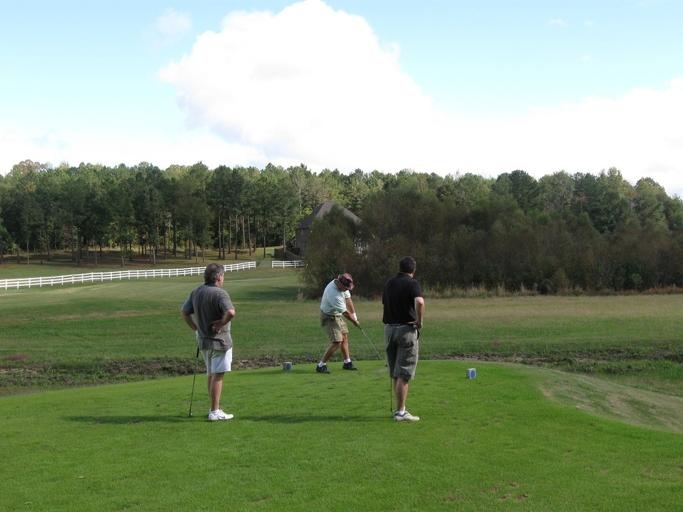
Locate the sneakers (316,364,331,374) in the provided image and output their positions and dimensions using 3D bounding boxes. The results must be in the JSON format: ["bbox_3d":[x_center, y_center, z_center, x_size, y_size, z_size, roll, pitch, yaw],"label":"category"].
[{"bbox_3d":[-0.507,3.016,19.720,0.426,0.221,0.152,0,9,-16],"label":"sneakers"}]

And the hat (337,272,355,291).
[{"bbox_3d":[0.127,0.784,19.589,0.207,0.539,0.486,-43,6,28],"label":"hat"}]

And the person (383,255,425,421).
[{"bbox_3d":[1.309,1.721,15.607,0.772,3.241,1.100,-1,11,-6],"label":"person"}]

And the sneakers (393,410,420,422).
[{"bbox_3d":[1.333,3.342,15.499,0.544,0.250,0.212,1,-2,-5],"label":"sneakers"}]

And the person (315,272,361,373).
[{"bbox_3d":[-0.135,1.818,19.990,1.073,2.864,1.338,0,11,2],"label":"person"}]

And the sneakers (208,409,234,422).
[{"bbox_3d":[-2.518,3.340,15.607,0.542,0.257,0.212,2,0,-11],"label":"sneakers"}]

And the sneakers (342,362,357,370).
[{"bbox_3d":[0.215,3.001,20.276,0.376,0.292,0.156,-2,3,-8],"label":"sneakers"}]
